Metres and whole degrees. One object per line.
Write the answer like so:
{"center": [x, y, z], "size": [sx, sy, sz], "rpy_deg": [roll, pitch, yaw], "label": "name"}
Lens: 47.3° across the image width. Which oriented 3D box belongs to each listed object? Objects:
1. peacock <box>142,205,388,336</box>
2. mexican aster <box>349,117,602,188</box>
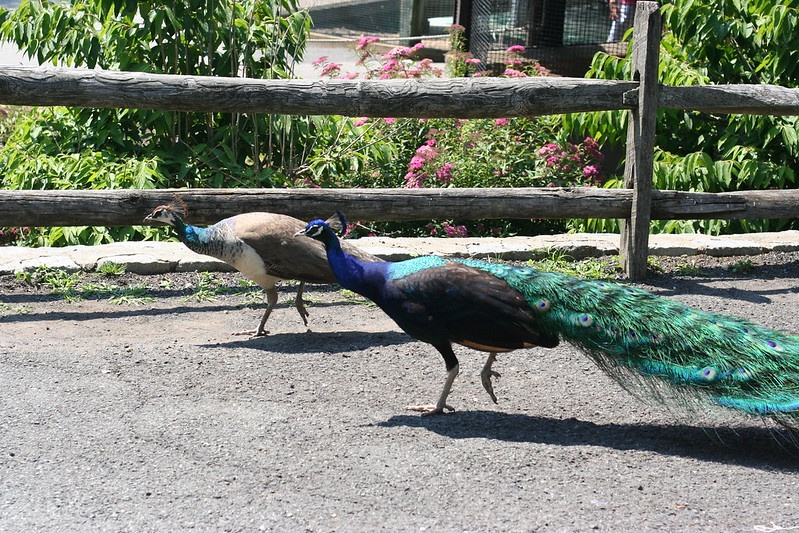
{"center": [-0.685, -0.112, 7.194], "size": [2.859, 1.058, 0.643], "rpy_deg": [0, 10, 16], "label": "peacock"}
{"center": [0.868, -1.304, 10.300], "size": [2.767, 0.784, 1.324], "rpy_deg": [2, 16, 7], "label": "mexican aster"}
